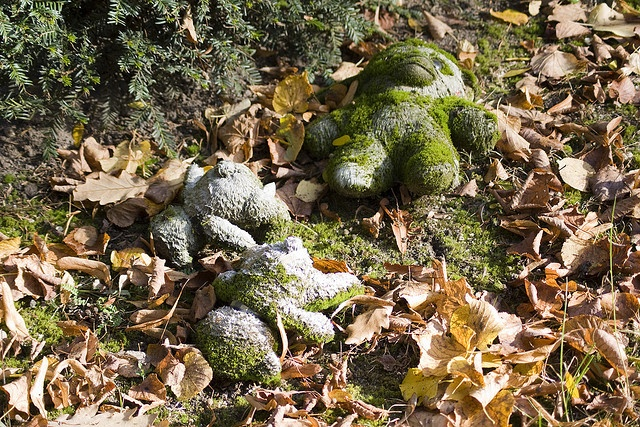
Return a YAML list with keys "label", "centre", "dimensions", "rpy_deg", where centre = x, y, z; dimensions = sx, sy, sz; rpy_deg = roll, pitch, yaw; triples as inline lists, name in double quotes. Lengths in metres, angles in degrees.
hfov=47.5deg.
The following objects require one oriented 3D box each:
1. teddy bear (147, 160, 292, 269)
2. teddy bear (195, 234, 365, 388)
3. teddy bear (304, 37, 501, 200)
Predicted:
- label: "teddy bear"
  centre: [-0.691, 0.018, 4.901]
  dimensions: [0.830, 0.406, 0.668]
  rpy_deg: [-3, 76, -8]
- label: "teddy bear"
  centre: [-0.304, 0.564, 4.666]
  dimensions: [0.928, 0.440, 1.086]
  rpy_deg: [29, 55, 19]
- label: "teddy bear"
  centre: [0.634, -0.721, 5.346]
  dimensions: [1.350, 0.548, 1.512]
  rpy_deg: [4, 53, 12]
